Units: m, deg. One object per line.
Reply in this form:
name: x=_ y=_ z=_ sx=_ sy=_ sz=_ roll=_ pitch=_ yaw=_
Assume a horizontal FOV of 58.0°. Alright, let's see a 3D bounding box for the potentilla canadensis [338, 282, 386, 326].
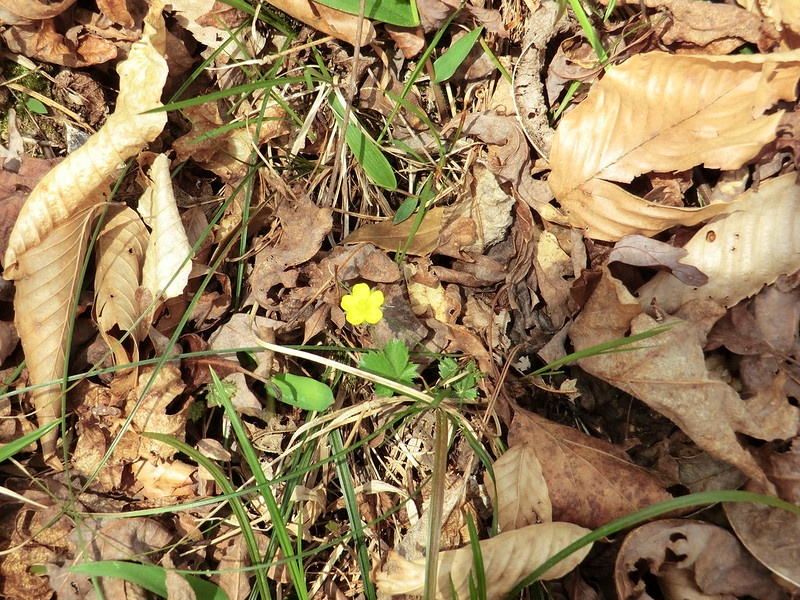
potentilla canadensis: x=-0.182 y=0.023 z=3.690 sx=0.194 sy=0.302 sz=0.211 roll=-2 pitch=82 yaw=1
